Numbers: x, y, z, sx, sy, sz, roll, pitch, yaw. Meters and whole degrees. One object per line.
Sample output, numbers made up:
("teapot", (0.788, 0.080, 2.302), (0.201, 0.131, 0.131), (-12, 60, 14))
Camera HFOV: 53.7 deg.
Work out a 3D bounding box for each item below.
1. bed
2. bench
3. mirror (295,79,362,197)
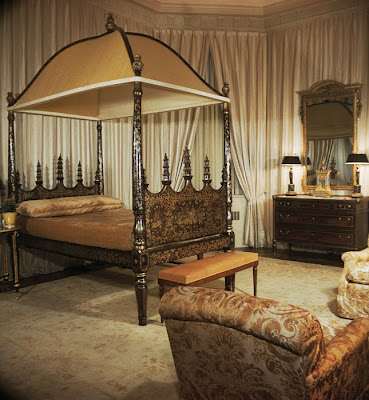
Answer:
("bed", (-0.709, -0.449, 4.089), (1.911, 2.815, 1.698), (1, 5, 30))
("bench", (0.261, 0.772, 3.395), (1.009, 0.419, 0.301), (-7, 7, -43))
("mirror", (2.332, -0.976, 5.841), (1.034, 1.769, 0.133), (-3, 6, -3))
